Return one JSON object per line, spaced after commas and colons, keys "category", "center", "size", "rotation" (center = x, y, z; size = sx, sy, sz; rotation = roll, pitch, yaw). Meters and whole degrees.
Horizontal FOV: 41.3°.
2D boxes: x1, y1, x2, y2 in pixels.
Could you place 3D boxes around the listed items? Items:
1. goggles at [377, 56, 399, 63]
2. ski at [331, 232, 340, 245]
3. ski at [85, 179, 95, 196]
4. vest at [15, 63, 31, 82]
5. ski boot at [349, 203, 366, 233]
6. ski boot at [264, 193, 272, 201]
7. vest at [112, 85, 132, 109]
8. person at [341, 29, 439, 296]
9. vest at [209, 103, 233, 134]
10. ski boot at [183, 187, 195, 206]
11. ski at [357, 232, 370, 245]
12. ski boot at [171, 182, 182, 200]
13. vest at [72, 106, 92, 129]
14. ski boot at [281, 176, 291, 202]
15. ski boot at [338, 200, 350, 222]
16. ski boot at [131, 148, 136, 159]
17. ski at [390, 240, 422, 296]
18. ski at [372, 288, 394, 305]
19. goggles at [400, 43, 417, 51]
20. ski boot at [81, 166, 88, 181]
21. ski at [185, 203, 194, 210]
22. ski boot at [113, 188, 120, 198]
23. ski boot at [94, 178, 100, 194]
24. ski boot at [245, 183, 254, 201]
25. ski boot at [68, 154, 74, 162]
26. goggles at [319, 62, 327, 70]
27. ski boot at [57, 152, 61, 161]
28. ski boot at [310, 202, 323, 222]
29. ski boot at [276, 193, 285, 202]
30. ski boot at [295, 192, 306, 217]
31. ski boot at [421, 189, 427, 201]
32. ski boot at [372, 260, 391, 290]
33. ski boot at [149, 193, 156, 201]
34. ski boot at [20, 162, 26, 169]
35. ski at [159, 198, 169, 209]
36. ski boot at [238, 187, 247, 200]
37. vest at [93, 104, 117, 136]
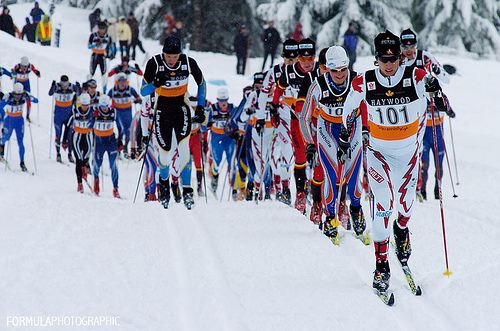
{"category": "goggles", "center": [2.360, -1.779, 11.271], "size": [0.342, 0.113, 0.050], "rotation": [3, 11, 8]}
{"category": "ski", "center": [1.629, 1.398, 12.550], "size": [0.137, 0.211, 0.058], "rotation": [-28, -22, 11]}
{"category": "ski", "center": [-3.895, 0.576, 16.312], "size": [0.052, 0.416, 0.036], "rotation": [-29, -27, 1]}
{"category": "vest", "center": [-6.899, -2.814, 20.331], "size": [0.439, 0.629, 0.336], "rotation": [9, 26, -39]}
{"category": "ski boot", "center": [2.097, 1.038, 12.838], "size": [0.190, 0.638, 0.248], "rotation": [-10, 7, 19]}
{"category": "ski boot", "center": [0.437, 0.750, 15.722], "size": [0.092, 0.166, 0.150], "rotation": [-1, -8, 10]}
{"category": "vest", "center": [-3.668, -1.939, 19.603], "size": [0.681, 1.077, 0.538], "rotation": [-2, 5, -11]}
{"category": "person", "center": [2.425, -0.167, 11.477], "size": [1.435, 4.119, 0.823], "rotation": [4, 11, 17]}
{"category": "vest", "center": [-0.634, -1.088, 16.854], "size": [0.631, 0.975, 0.489], "rotation": [0, -20, 9]}
{"category": "ski boot", "center": [-1.158, 0.617, 12.845], "size": [0.126, 0.195, 0.418], "rotation": [-4, 11, -7]}
{"category": "ski", "center": [2.221, 1.421, 12.784], "size": [0.140, 0.239, 0.079], "rotation": [-6, -10, 20]}
{"category": "ski boot", "center": [-1.447, 0.507, 13.265], "size": [0.184, 0.362, 0.254], "rotation": [-1, 11, -8]}
{"category": "vest", "center": [-4.194, -1.188, 16.726], "size": [0.492, 0.772, 0.382], "rotation": [0, 5, -17]}
{"category": "ski boot", "center": [0.801, 0.524, 14.420], "size": [0.189, 0.490, 0.262], "rotation": [1, 11, 3]}
{"category": "ski boot", "center": [1.847, 0.930, 12.983], "size": [0.152, 0.551, 0.212], "rotation": [-2, 10, 12]}
{"category": "ski boot", "center": [-2.475, -0.239, 14.275], "size": [0.109, 0.228, 0.206], "rotation": [-1, 5, -7]}
{"category": "ski", "center": [2.797, 1.969, 11.750], "size": [0.164, 1.301, 0.193], "rotation": [-20, -21, 7]}
{"category": "ski", "center": [2.304, 2.218, 11.376], "size": [0.104, 0.112, 0.646], "rotation": [-2, 22, -12]}
{"category": "goggles", "center": [3.407, -2.505, 14.210], "size": [0.425, 0.163, 0.181], "rotation": [-6, 14, -28]}
{"category": "ski boot", "center": [-4.018, 0.216, 16.308], "size": [0.113, 0.334, 0.091], "rotation": [10, 14, 43]}
{"category": "ski", "center": [-1.145, 0.821, 12.917], "size": [0.117, 0.144, 0.059], "rotation": [-1, 10, 3]}
{"category": "ski boot", "center": [-3.175, 0.685, 15.998], "size": [0.139, 0.222, 0.093], "rotation": [1, -19, -17]}
{"category": "ski boot", "center": [-3.727, 0.518, 16.362], "size": [0.108, 0.372, 0.133], "rotation": [-4, 3, -12]}
{"category": "ski boot", "center": [0.016, 0.655, 15.996], "size": [0.124, 0.458, 0.190], "rotation": [3, 10, -2]}
{"category": "ski boot", "center": [-5.101, -0.227, 19.145], "size": [0.149, 0.235, 0.354], "rotation": [-2, 13, -16]}
{"category": "goggles", "center": [1.433, -1.904, 12.954], "size": [0.078, 0.038, 0.114], "rotation": [13, 28, -37]}
{"category": "ski boot", "center": [-5.362, -0.244, 18.828], "size": [0.090, 0.222, 0.247], "rotation": [-2, 12, -14]}
{"category": "ski boot", "center": [1.332, 0.926, 13.097], "size": [0.213, 0.367, 0.131], "rotation": [3, 2, 24]}
{"category": "ski boot", "center": [0.677, 0.714, 14.524], "size": [0.072, 0.096, 0.302], "rotation": [-10, 11, -9]}
{"category": "ski boot", "center": [1.070, 0.808, 13.666], "size": [0.146, 0.491, 0.195], "rotation": [-3, 3, 0]}
{"category": "ski boot", "center": [4.036, 0.678, 15.374], "size": [0.134, 0.276, 0.367], "rotation": [4, 12, 15]}
{"category": "ski boot", "center": [2.256, 1.958, 11.439], "size": [0.191, 0.492, 0.642], "rotation": [3, 4, 2]}
{"category": "ski boot", "center": [-2.203, 0.737, 15.265], "size": [0.159, 0.133, 0.197], "rotation": [-1, 15, -3]}
{"category": "ski boot", "center": [-5.780, 0.015, 17.084], "size": [0.141, 0.183, 0.383], "rotation": [-3, 14, -21]}
{"category": "ski", "center": [-1.645, 0.762, 13.050], "size": [0.122, 0.204, 0.096], "rotation": [-1, 2, 4]}
{"category": "ski boot", "center": [-0.165, 0.722, 16.274], "size": [0.262, 0.408, 0.204], "rotation": [3, -4, -6]}
{"category": "vest", "center": [-3.687, -1.086, 16.916], "size": [0.662, 0.973, 0.489], "rotation": [0, 9, -28]}
